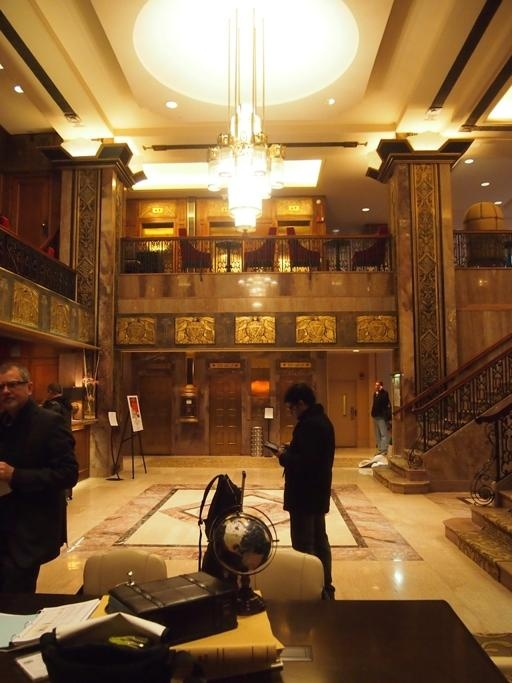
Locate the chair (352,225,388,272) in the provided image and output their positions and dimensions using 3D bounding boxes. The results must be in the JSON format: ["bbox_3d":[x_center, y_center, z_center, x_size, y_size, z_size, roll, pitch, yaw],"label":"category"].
[{"bbox_3d":[2.539,-1.945,11.334,0.936,1.289,0.951,1,-4,7],"label":"chair"}]

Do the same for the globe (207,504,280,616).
[{"bbox_3d":[-0.042,0.705,1.702,0.182,0.313,0.183,-10,-12,32],"label":"globe"}]

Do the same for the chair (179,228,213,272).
[{"bbox_3d":[-1.294,-1.805,10.575,0.793,1.088,0.663,0,-4,-4],"label":"chair"}]

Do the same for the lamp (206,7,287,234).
[{"bbox_3d":[-0.190,-2.964,7.529,0.979,2.938,2.083,0,-4,-5],"label":"lamp"}]

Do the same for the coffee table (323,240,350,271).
[{"bbox_3d":[1.736,-1.805,11.020,0.534,0.916,1.113,-1,-4,8],"label":"coffee table"}]

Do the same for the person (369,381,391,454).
[{"bbox_3d":[2.821,1.760,11.681,0.424,1.666,1.552,-2,-4,13],"label":"person"}]
